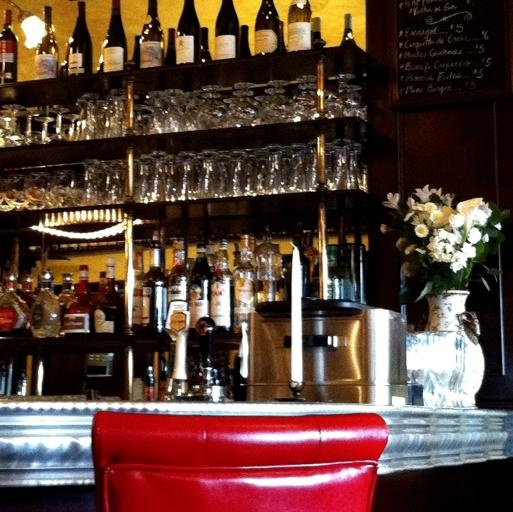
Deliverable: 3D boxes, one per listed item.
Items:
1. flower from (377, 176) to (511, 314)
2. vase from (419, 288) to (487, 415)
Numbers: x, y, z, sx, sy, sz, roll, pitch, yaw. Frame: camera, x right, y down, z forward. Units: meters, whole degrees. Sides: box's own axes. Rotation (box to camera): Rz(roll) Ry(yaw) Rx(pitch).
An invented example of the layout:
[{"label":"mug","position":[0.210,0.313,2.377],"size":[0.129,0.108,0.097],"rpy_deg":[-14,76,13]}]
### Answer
[{"label":"flower","position":[0.585,-0.011,2.526],"size":[0.467,0.434,0.416],"rpy_deg":[-2,-13,26]},{"label":"vase","position":[0.543,0.264,2.252],"size":[0.202,0.314,0.229],"rpy_deg":[5,-10,-26]}]
